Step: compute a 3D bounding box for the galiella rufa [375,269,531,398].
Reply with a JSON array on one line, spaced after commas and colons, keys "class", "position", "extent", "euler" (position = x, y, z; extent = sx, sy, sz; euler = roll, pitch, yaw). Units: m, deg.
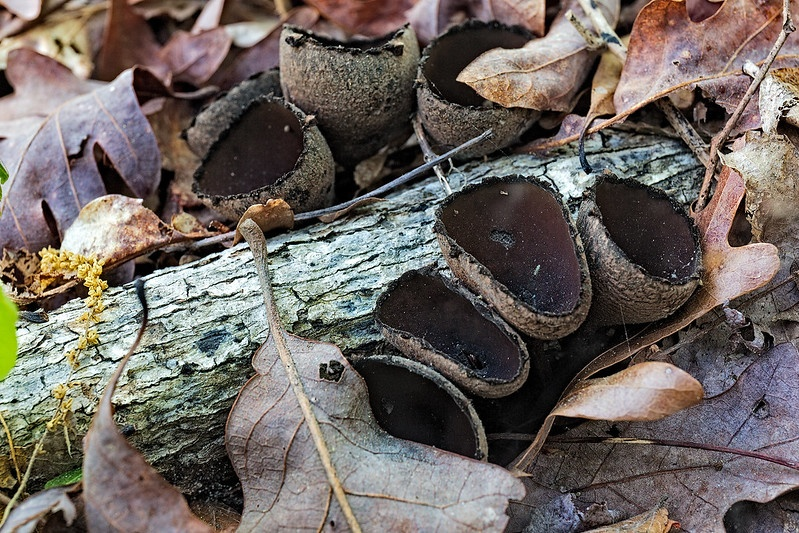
[{"class": "galiella rufa", "position": [0.161, 0.248, 2.655], "extent": [0.589, 0.192, 0.330], "euler": [37, 81, 16]}]
